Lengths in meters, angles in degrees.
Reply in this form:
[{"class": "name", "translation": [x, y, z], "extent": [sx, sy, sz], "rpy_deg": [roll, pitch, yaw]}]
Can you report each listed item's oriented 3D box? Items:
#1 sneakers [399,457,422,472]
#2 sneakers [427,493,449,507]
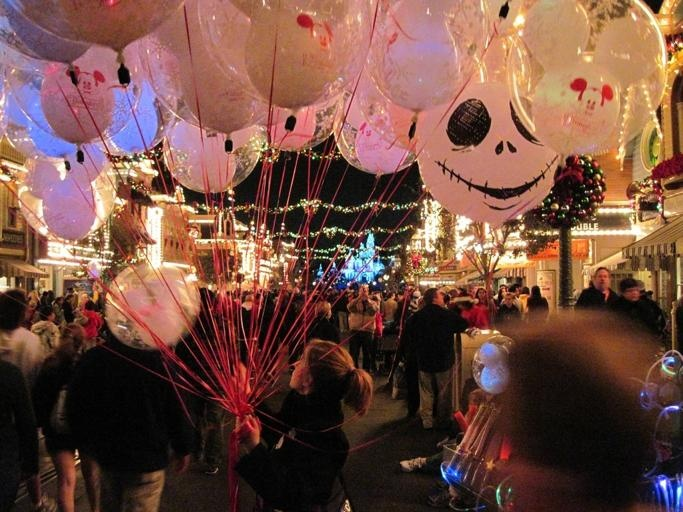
[{"class": "sneakers", "translation": [0.798, 2.505, 6.624], "extent": [0.307, 0.149, 0.116], "rpy_deg": [5, 27, -6]}, {"class": "sneakers", "translation": [0.990, 2.528, 5.692], "extent": [0.204, 0.103, 0.105], "rpy_deg": [6, -2, -6]}]
